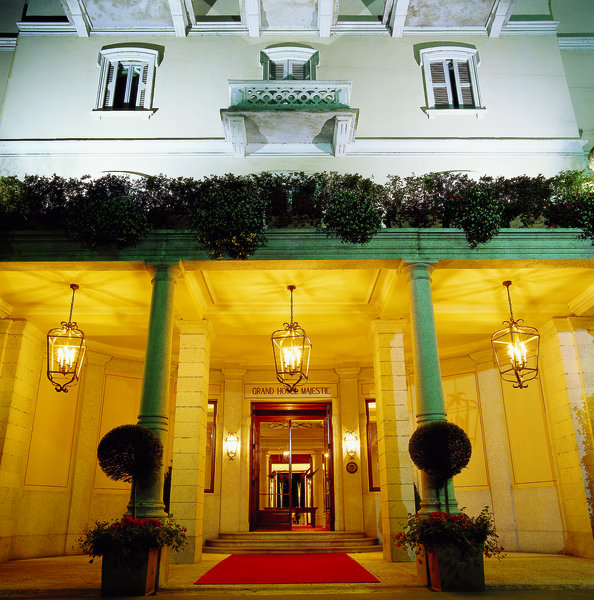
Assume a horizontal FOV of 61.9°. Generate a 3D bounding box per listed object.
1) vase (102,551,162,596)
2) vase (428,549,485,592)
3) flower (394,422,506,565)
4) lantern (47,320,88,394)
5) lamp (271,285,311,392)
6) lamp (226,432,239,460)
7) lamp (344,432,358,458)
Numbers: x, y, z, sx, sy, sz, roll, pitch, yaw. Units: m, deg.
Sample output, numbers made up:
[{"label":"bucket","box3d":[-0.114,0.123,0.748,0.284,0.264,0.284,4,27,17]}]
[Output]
[{"label":"vase","box3d":[-1.690,2.748,5.082,0.395,0.482,0.487,1,-11,-2]},{"label":"vase","box3d":[1.620,2.754,5.114,0.575,0.407,0.435,-5,-19,12]},{"label":"flower","box3d":[1.734,2.062,5.618,0.753,1.707,0.875,3,-13,-1]},{"label":"lantern","box3d":[-4.177,0.989,8.949,0.577,1.656,0.551,-5,-22,12]},{"label":"lamp","box3d":[-0.105,0.597,8.475,0.698,1.695,0.679,-4,-9,25]},{"label":"lamp","box3d":[-1.604,3.604,12.274,0.387,0.610,0.161,3,-19,-12]},{"label":"lamp","box3d":[1.332,3.551,12.300,0.385,0.494,0.149,1,-26,2]}]
